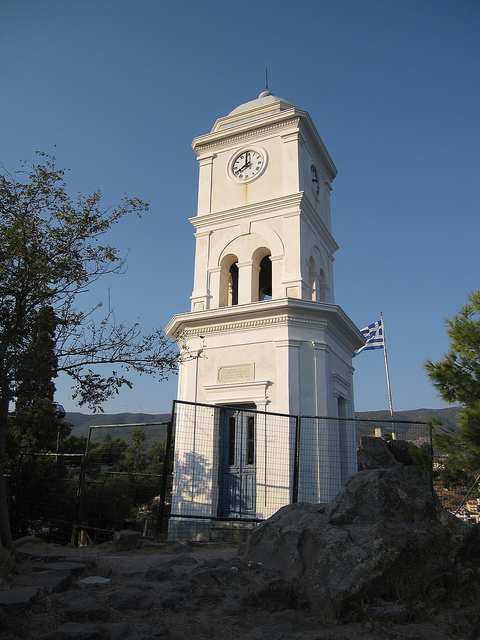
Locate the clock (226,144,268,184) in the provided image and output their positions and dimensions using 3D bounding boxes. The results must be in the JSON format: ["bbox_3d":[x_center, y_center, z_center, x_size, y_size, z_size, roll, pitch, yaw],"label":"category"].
[{"bbox_3d":[0.242,-5.841,18.262,1.590,1.713,0.132,-4,-19,22],"label":"clock"}]
